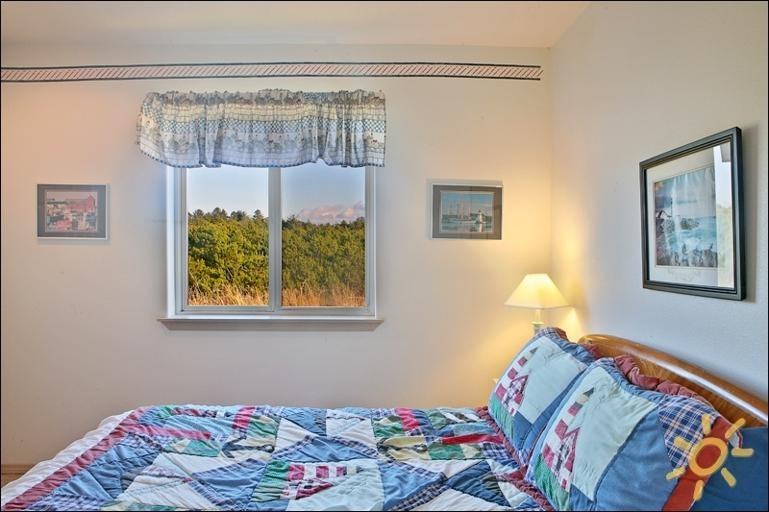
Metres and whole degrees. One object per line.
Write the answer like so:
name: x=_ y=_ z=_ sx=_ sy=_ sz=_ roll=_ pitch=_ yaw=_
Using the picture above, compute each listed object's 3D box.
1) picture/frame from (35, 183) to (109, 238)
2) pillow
picture/frame: x=-1.711 y=-0.249 z=3.157 sx=0.023 sy=0.270 sz=0.285 roll=7 pitch=8 yaw=44
pillow: x=0.949 y=0.741 z=2.471 sx=0.251 sy=0.589 sz=0.912 roll=36 pitch=-2 yaw=-22
